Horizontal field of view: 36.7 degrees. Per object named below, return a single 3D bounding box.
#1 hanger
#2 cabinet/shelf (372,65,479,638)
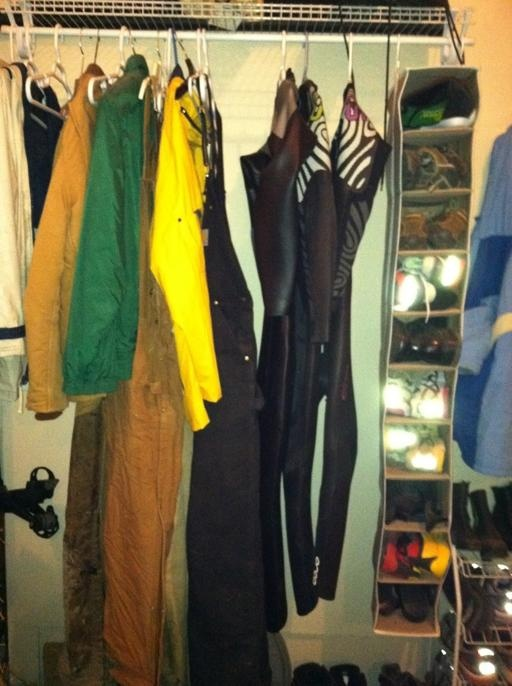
[{"bbox_3d":[-0.120,-0.831,2.464,1.136,0.329,0.176,3,1,0],"label":"hanger"},{"bbox_3d":[0.508,0.059,2.373,0.248,1.188,0.377,2,1,5],"label":"cabinet/shelf"}]
